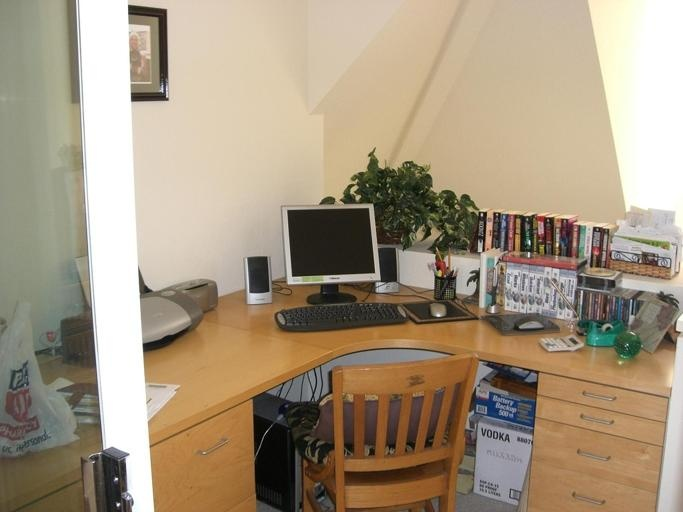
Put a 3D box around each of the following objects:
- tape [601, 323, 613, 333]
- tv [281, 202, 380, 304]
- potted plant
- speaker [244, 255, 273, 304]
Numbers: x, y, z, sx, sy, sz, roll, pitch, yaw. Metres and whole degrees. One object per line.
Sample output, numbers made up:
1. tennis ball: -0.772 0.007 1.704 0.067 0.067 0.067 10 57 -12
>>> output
1. tape: 1.106 0.296 2.193 0.034 0.025 0.034 -1 15 18
2. tv: -0.052 -0.021 2.689 0.494 0.474 0.238 -3 8 -10
3. potted plant: 0.355 -0.292 2.877 0.608 0.312 0.671 5 36 -1
4. speaker: -0.404 0.106 2.722 0.151 0.249 0.139 3 16 23
